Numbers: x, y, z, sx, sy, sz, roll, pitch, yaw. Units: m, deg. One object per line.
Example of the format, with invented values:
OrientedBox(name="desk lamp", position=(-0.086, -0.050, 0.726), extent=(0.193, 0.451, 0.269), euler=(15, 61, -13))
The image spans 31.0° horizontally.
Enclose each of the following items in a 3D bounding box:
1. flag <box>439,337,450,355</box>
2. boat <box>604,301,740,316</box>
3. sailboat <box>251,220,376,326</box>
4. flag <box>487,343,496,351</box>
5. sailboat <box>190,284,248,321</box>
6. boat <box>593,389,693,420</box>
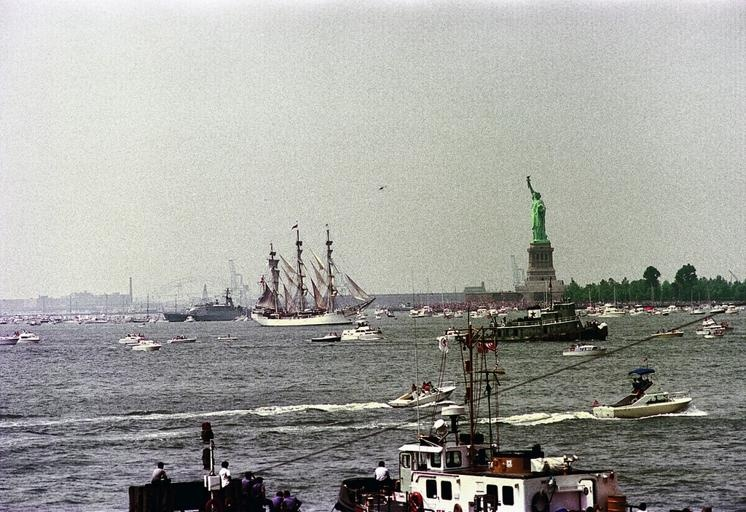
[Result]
OrientedBox(name="flag", position=(4.315, 5.470, 81.465), extent=(0.813, 1.213, 0.405), euler=(-5, -7, 34))
OrientedBox(name="boat", position=(62.992, 11.113, 279.656), extent=(28.358, 5.060, 5.530), euler=(-1, 2, 3))
OrientedBox(name="sailboat", position=(-11.656, 4.381, 261.144), extent=(22.865, 20.284, 10.622), euler=(-3, 9, 7))
OrientedBox(name="flag", position=(7.007, 5.343, 79.111), extent=(0.458, 0.433, 1.448), euler=(-3, -8, 10))
OrientedBox(name="sailboat", position=(-39.054, 12.673, 342.671), extent=(11.307, 10.680, 35.464), euler=(-2, -8, -2))
OrientedBox(name="boat", position=(21.152, 12.348, 105.003), extent=(8.262, 2.522, 5.051), euler=(-5, 1, -38))
